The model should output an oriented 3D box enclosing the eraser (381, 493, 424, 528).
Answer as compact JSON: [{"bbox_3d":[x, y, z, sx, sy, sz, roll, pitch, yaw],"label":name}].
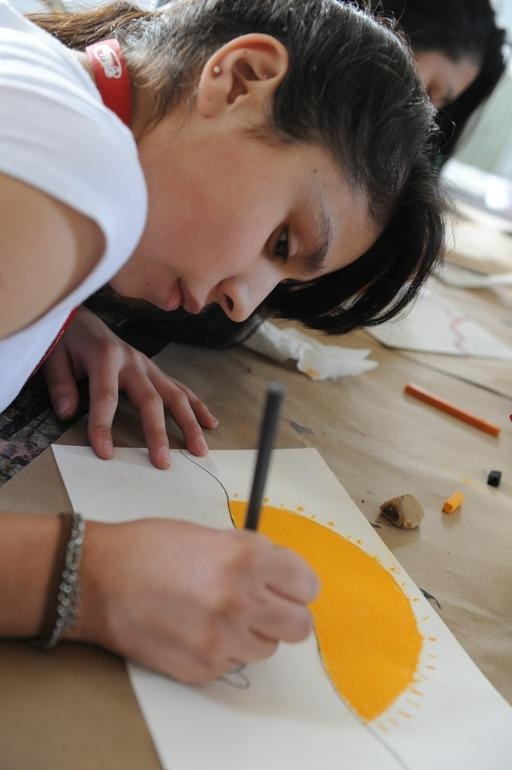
[{"bbox_3d":[0.150,0.131,0.723,0.035,0.015,0.038,-7,31,-32],"label":"eraser"}]

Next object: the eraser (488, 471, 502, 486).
[{"bbox_3d":[0.291,0.115,0.854,0.016,0.014,0.022,4,19,21],"label":"eraser"}]

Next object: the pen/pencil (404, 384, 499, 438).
[{"bbox_3d":[0.277,0.039,1.005,0.110,0.018,0.023,29,59,10],"label":"pen/pencil"}]
